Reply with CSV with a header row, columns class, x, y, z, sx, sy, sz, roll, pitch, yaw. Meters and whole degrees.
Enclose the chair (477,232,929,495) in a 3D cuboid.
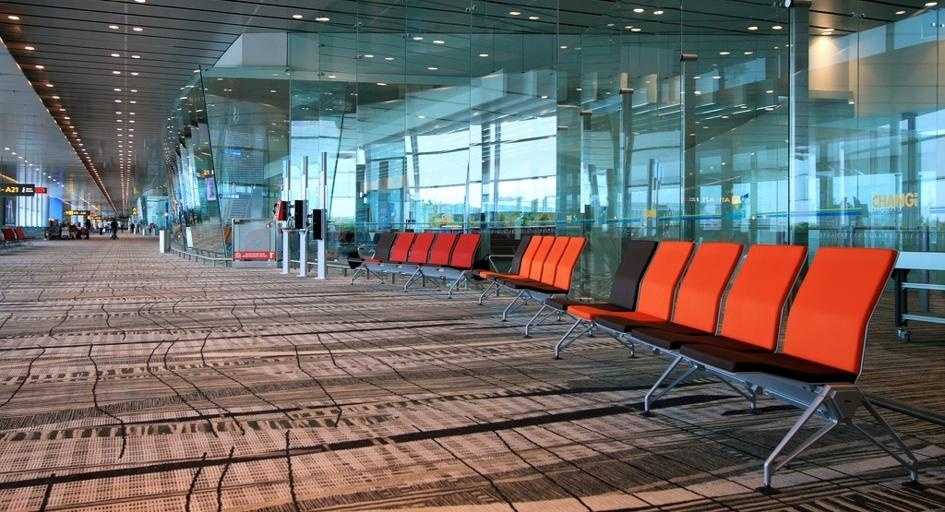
class,x,y,z,sx,sy,sz,roll,pitch,yaw
chair,1.927,0.866,4.257,1.538,0.992,2.459,3,-3,-11
